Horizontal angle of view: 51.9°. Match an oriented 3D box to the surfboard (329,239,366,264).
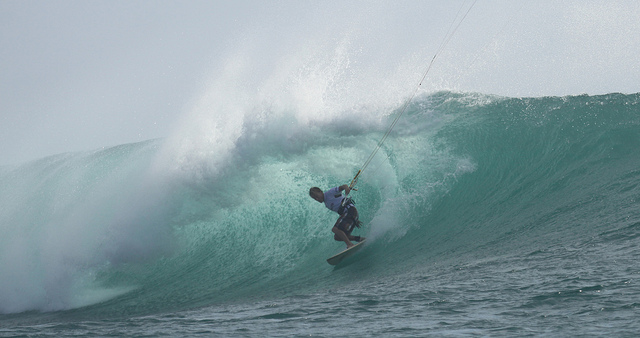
[{"bbox_3d":[0.804,2.597,21.225,1.508,0.362,0.144,-24,50,-21],"label":"surfboard"}]
